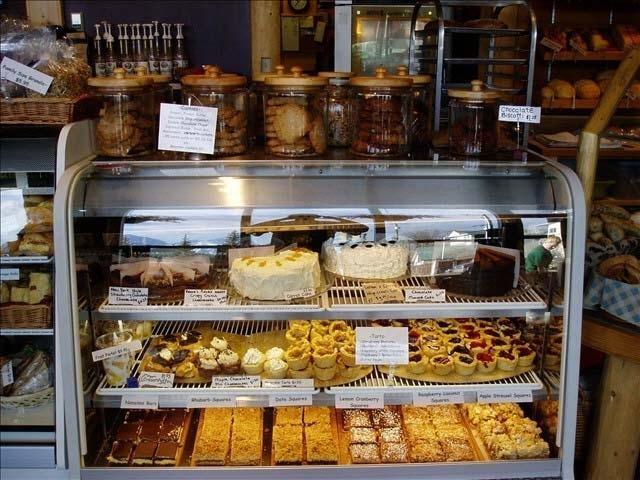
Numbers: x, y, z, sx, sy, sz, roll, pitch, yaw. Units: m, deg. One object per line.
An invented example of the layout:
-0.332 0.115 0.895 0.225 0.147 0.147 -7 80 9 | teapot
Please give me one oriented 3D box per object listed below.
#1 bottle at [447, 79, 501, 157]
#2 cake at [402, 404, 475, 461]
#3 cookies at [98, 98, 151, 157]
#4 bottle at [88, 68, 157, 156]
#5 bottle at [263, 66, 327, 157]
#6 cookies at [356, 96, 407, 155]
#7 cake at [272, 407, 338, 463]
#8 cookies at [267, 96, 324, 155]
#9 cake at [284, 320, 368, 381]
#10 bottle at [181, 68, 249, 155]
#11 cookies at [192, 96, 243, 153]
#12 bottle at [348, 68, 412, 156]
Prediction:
0.715 -0.544 2.340 0.224 0.306 0.145 1 20 13 | bottle
0.611 1.004 2.581 0.383 0.072 0.320 0 18 1 | cake
-0.825 -0.520 2.354 0.299 0.255 0.259 -1 7 -7 | cookies
-0.876 -0.552 2.259 0.268 0.350 0.130 -10 20 -19 | bottle
-0.080 -0.582 2.346 0.469 0.392 0.408 -1 8 -4 | bottle
0.247 -0.530 2.351 0.315 0.270 0.276 0 8 1 | cookies
-0.072 0.939 2.498 0.292 0.064 0.259 1 27 -2 | cake
-0.114 -0.512 2.261 0.314 0.228 0.257 -2 11 -5 | cookies
0.019 0.556 2.473 0.372 0.070 0.306 0 40 -1 | cake
-0.387 -0.600 2.464 0.522 0.389 0.401 -1 10 -5 | bottle
-0.388 -0.529 2.341 0.306 0.261 0.267 1 8 -1 | cookies
0.282 -0.561 2.306 0.275 0.361 0.172 -1 19 6 | bottle
